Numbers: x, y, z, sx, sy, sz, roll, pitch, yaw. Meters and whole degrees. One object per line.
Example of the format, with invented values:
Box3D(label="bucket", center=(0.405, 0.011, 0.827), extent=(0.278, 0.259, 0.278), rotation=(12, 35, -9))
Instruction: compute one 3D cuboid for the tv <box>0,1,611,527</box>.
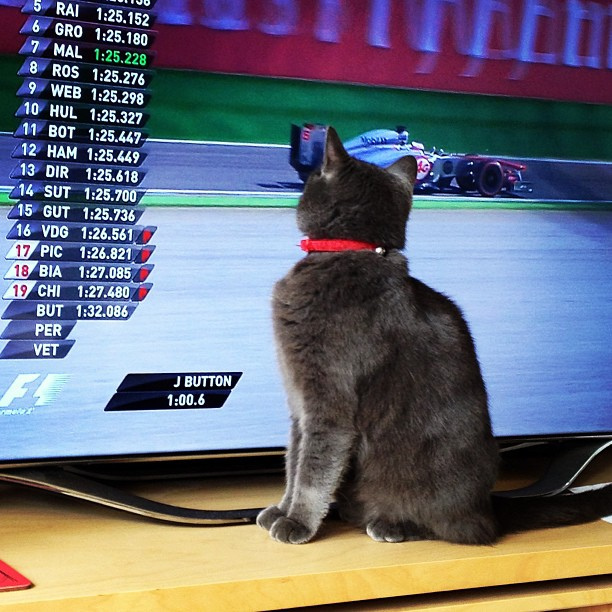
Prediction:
Box3D(label="tv", center=(-0.050, -0.091, 1.361), extent=(1.893, 0.806, 0.018), rotation=(1, 3, -13))

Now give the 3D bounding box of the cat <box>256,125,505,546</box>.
Box3D(label="cat", center=(0.154, 0.047, 1.282), extent=(0.431, 0.741, 0.309), rotation=(4, 11, -10))
